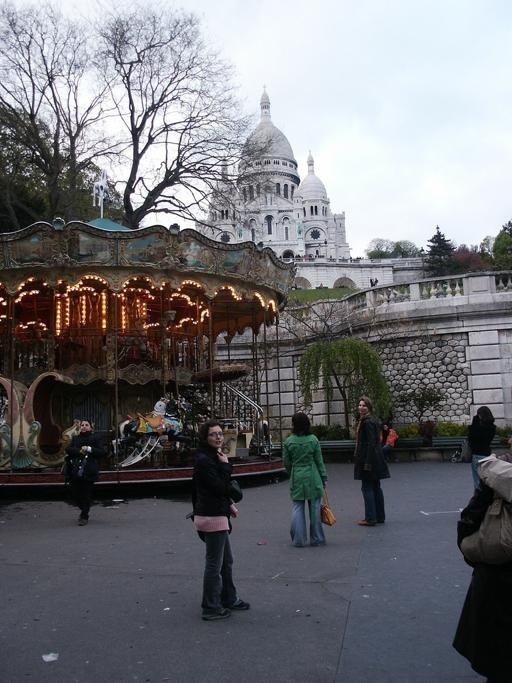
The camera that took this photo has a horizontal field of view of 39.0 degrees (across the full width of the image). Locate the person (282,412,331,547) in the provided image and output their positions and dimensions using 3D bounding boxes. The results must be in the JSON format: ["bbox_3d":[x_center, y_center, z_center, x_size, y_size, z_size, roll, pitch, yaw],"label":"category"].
[{"bbox_3d":[0.594,1.667,8.727,0.483,1.569,0.699,-4,-3,2],"label":"person"}]

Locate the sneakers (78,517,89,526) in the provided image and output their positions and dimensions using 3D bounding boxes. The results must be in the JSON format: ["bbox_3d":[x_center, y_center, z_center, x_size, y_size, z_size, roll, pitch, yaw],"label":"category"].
[{"bbox_3d":[-2.551,2.643,10.607,0.071,0.086,0.194,-1,-19,-4],"label":"sneakers"}]

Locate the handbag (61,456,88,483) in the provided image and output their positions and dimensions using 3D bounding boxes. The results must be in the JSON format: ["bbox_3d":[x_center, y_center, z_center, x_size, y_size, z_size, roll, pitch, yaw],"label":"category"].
[{"bbox_3d":[-2.745,1.922,10.906,0.186,0.390,0.535,-1,-4,-43],"label":"handbag"}]

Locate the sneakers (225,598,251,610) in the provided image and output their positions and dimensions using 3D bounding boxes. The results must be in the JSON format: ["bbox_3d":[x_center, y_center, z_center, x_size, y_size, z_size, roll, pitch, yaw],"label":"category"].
[{"bbox_3d":[-0.144,2.040,5.655,0.199,0.084,0.072,-2,2,-3],"label":"sneakers"}]

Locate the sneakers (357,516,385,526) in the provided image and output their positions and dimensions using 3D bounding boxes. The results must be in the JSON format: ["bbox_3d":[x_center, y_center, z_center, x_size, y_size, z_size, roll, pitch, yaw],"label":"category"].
[{"bbox_3d":[1.575,2.425,9.768,0.317,0.138,0.124,3,-3,0],"label":"sneakers"}]

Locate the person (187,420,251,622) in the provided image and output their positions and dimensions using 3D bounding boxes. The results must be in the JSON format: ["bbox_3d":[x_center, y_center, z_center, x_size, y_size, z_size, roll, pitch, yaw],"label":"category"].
[{"bbox_3d":[-0.298,1.365,5.624,0.428,1.476,0.506,-3,-3,-5],"label":"person"}]

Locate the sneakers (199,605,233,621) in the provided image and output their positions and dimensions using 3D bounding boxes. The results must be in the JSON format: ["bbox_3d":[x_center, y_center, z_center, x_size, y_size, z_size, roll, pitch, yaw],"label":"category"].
[{"bbox_3d":[-0.298,2.021,5.428,0.241,0.109,0.081,-1,2,-11],"label":"sneakers"}]

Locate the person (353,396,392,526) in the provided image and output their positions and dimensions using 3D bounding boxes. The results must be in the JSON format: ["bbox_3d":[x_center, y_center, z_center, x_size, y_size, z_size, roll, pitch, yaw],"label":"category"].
[{"bbox_3d":[1.545,1.614,9.797,0.434,1.711,0.763,-4,-3,7],"label":"person"}]
